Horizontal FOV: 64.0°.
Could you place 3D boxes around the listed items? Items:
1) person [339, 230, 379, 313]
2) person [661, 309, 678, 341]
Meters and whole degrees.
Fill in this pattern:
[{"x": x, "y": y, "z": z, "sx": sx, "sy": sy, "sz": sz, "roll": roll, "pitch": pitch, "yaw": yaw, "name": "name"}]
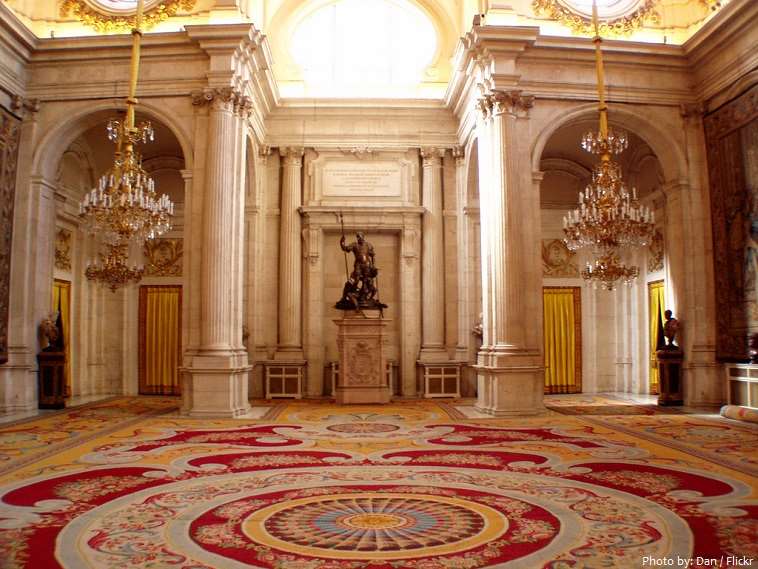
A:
[{"x": -0.451, "y": -0.293, "z": 13.438, "sx": 0.686, "sy": 1.704, "sz": 1.043, "roll": -5, "pitch": -10, "yaw": 35, "name": "person"}, {"x": 6.004, "y": 0.858, "z": 12.439, "sx": 0.284, "sy": 0.715, "sz": 0.491, "roll": -2, "pitch": -8, "yaw": 23, "name": "person"}]
